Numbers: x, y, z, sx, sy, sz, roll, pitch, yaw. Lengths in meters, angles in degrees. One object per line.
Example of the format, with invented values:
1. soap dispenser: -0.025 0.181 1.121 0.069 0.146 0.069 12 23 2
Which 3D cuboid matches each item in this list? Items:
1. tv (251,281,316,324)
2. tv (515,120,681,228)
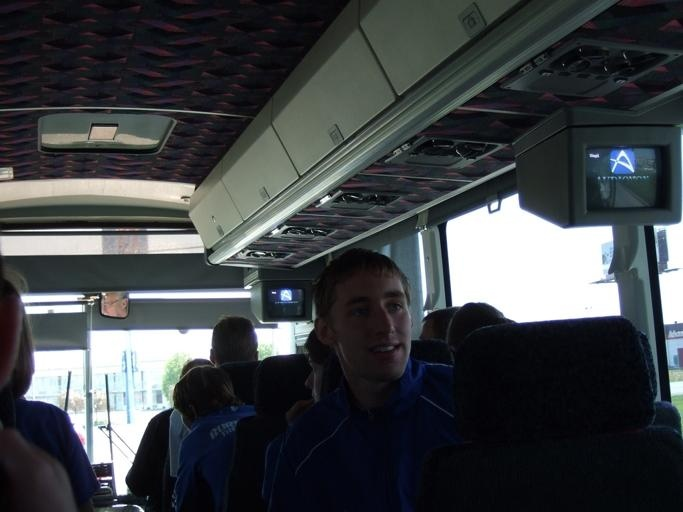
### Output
1. tv: -0.846 0.667 8.006 0.637 0.507 0.854 2 -5 -18
2. tv: 1.332 -0.384 2.916 0.619 0.434 0.626 1 -3 -17
